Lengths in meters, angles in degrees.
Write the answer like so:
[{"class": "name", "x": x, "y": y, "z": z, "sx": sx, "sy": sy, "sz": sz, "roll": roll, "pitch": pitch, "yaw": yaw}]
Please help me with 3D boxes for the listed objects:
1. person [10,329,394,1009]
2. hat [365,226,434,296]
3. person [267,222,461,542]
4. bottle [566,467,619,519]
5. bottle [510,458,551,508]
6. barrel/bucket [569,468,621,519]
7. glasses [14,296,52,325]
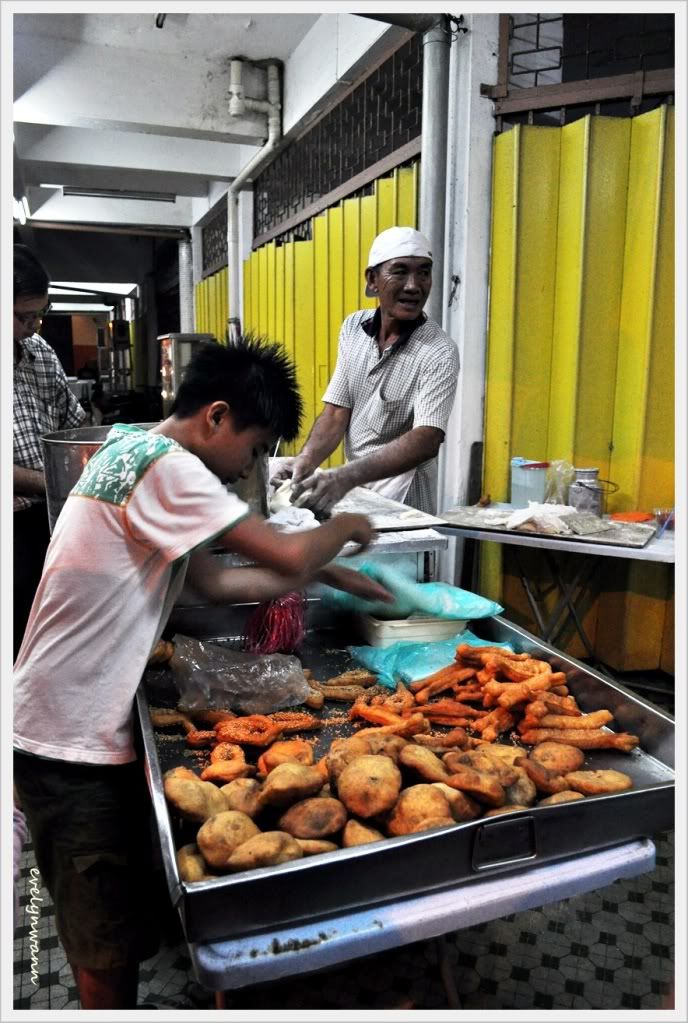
[{"class": "person", "x": -0.275, "y": 0.296, "z": 1.254, "sx": 0.578, "sy": 1.211, "sz": 0.352, "roll": -5, "pitch": 9, "yaw": -31}, {"class": "hat", "x": 0.219, "y": -0.931, "z": 2.585, "sx": 0.203, "sy": 0.237, "sz": 0.275, "roll": 0, "pitch": 9, "yaw": -12}, {"class": "person", "x": 0.079, "y": -0.261, "z": 2.854, "sx": 0.758, "sy": 1.647, "sz": 0.703, "roll": -5, "pitch": 28, "yaw": -5}, {"class": "bottle", "x": 1.002, "y": -0.084, "z": 3.010, "sx": 0.253, "sy": 0.247, "sz": 0.205, "roll": 6, "pitch": 10, "yaw": 38}, {"class": "bottle", "x": 0.924, "y": -0.144, "z": 3.506, "sx": 0.134, "sy": 0.241, "sz": 0.290, "roll": -3, "pitch": 7, "yaw": -21}, {"class": "barrel/bucket", "x": 1.010, "y": -0.083, "z": 2.995, "sx": 0.252, "sy": 0.247, "sz": 0.209, "roll": 5, "pitch": 9, "yaw": 35}, {"class": "glasses", "x": -1.216, "y": -0.778, "z": 2.719, "sx": 0.117, "sy": 0.035, "sz": 0.114, "roll": 24, "pitch": 29, "yaw": 14}]
